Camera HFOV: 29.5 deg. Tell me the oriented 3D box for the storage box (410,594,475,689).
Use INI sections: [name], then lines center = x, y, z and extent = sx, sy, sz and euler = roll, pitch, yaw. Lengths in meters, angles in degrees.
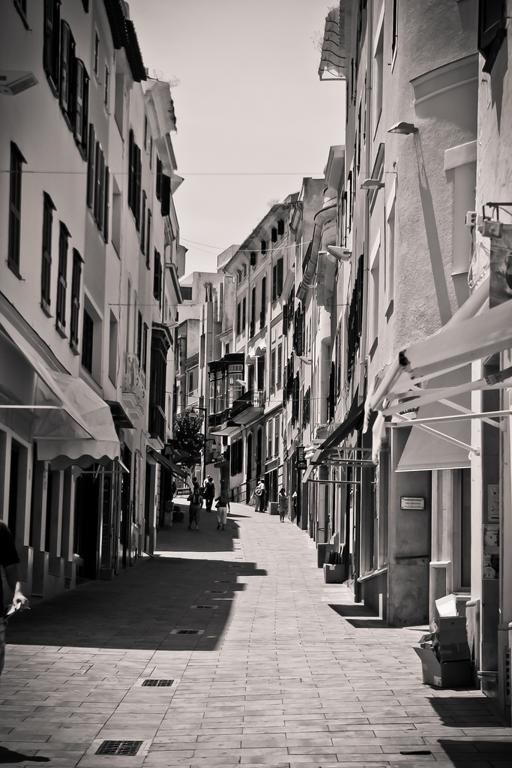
[storage box]
center = 1.566, 2.208, 8.244
extent = 0.465, 1.204, 0.638
euler = 1, -4, 5
